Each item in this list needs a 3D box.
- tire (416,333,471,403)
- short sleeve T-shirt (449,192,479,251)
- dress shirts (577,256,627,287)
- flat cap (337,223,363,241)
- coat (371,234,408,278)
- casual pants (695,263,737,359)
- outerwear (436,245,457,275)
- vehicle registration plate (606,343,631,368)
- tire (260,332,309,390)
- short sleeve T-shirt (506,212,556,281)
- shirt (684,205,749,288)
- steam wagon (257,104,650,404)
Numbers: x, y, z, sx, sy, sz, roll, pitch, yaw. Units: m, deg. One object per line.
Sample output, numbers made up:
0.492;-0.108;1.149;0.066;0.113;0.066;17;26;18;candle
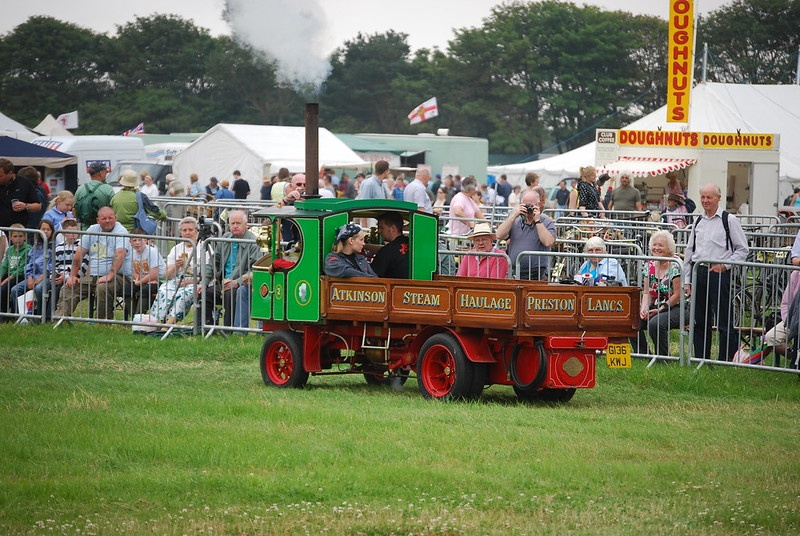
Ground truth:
0.890;1.925;30.086;0.473;1.305;1.277;6;5;-40;tire
1.532;-1.184;37.966;0.692;1.313;1.057;14;19;28;short sleeve T-shirt
4.158;0.284;32.537;0.966;0.771;0.548;-2;-17;21;dress shirts
-0.988;-0.692;30.585;0.393;0.155;0.309;-13;4;18;flat cap
-0.193;-0.227;31.306;0.777;0.608;0.420;1;14;-16;coat
6.396;0.847;32.227;0.776;2.196;0.521;12;24;38;casual pants
0.994;-0.162;34.175;0.628;0.673;0.043;5;-12;-40;outerwear
4.139;1.627;29.956;0.467;0.441;0.065;0;3;6;vehicle registration plate
-2.245;1.814;31.142;0.410;1.191;1.183;-1;-3;-43;tire
2.724;-0.452;33.205;1.151;1.403;0.819;-5;-16;25;short sleeve T-shirt
6.519;-0.447;32.876;1.297;1.729;0.663;4;-1;39;shirt
0.656;0.039;31.396;7.138;4.675;4.118;2;3;35;steam wagon
